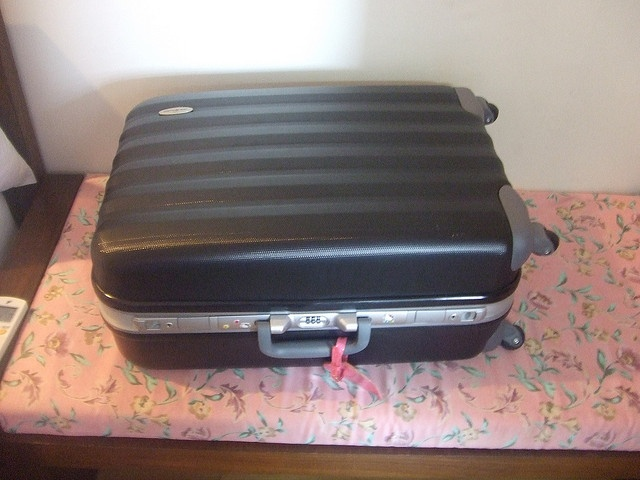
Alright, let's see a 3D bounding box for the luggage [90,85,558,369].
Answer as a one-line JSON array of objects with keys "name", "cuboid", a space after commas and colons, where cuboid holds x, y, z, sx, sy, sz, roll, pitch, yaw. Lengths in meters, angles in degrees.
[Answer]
[{"name": "luggage", "cuboid": [-0.031, 0.040, 1.256, 0.753, 0.380, 0.620, 1, 49, -1]}]
